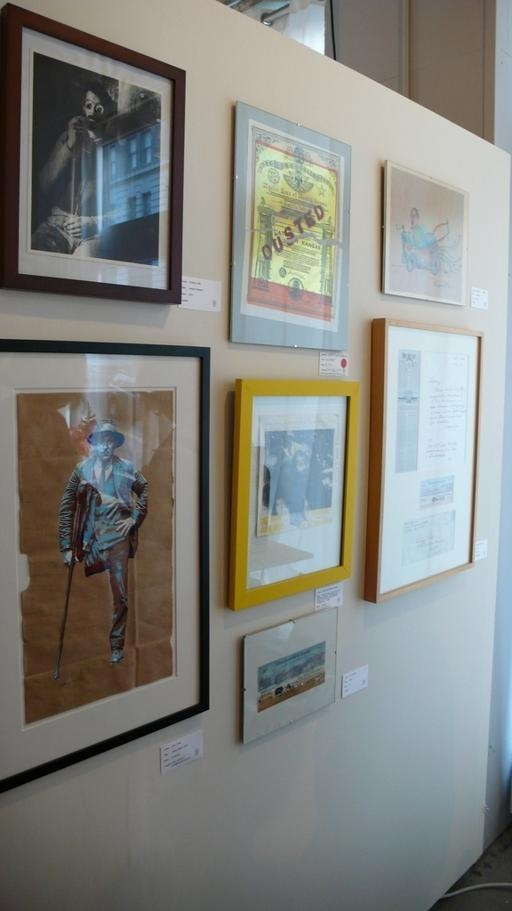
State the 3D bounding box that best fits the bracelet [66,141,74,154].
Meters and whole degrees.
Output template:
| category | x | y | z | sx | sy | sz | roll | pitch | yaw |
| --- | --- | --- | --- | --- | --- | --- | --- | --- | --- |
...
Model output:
| category | x | y | z | sx | sy | sz | roll | pitch | yaw |
| --- | --- | --- | --- | --- | --- | --- | --- | --- | --- |
| bracelet | -0.273 | -0.452 | 0.973 | 0.011 | 0.012 | 0.010 | -8 | 12 | -42 |
